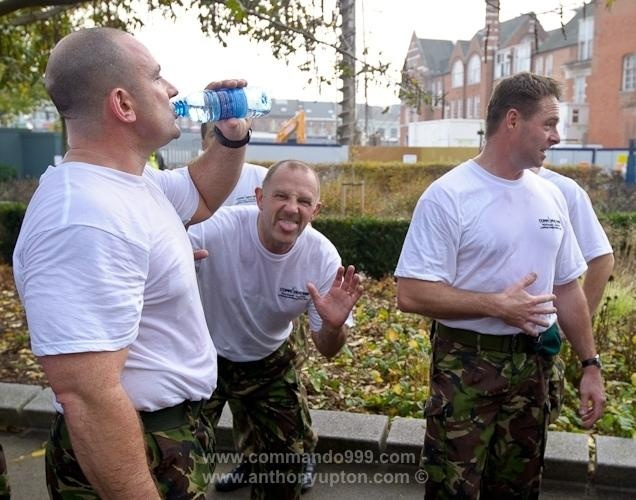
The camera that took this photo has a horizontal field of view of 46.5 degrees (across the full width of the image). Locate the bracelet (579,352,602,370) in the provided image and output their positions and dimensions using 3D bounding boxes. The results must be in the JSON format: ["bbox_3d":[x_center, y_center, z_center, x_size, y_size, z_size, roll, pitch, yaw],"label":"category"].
[{"bbox_3d":[1.714,0.701,4.649,0.101,0.083,0.118,-7,-12,6],"label":"bracelet"}]
